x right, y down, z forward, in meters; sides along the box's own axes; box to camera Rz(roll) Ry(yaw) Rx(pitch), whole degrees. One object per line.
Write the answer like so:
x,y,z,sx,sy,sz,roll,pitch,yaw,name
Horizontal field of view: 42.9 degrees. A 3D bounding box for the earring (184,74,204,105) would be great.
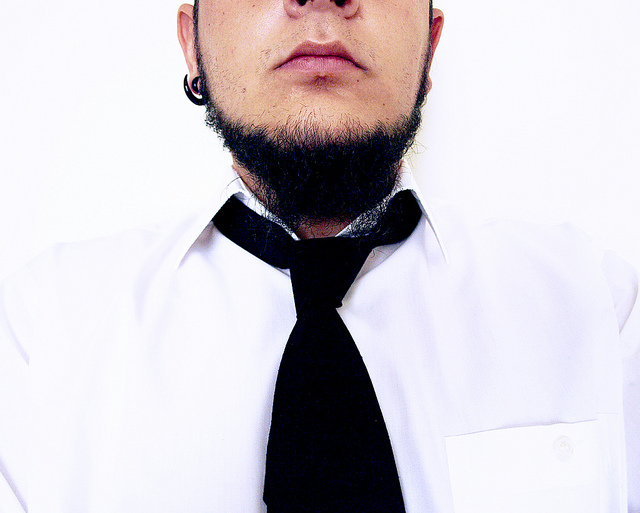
-0.270,-0.356,1.768,0.044,0.070,0.018,-21,-12,35,earring
